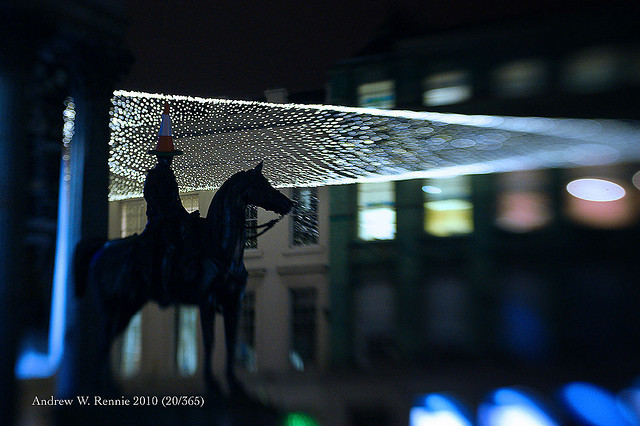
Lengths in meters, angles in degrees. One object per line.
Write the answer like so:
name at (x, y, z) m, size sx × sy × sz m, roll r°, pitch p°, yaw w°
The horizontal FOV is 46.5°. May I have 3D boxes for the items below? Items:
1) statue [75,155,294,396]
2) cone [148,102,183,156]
statue at (-0.789, 0.289, 4.321) m, size 1.531 × 1.355 × 0.450 m, roll -5°, pitch -15°, yaw 25°
cone at (-0.888, -0.470, 4.316) m, size 0.162 × 0.285 × 0.145 m, roll -10°, pitch -10°, yaw 41°
